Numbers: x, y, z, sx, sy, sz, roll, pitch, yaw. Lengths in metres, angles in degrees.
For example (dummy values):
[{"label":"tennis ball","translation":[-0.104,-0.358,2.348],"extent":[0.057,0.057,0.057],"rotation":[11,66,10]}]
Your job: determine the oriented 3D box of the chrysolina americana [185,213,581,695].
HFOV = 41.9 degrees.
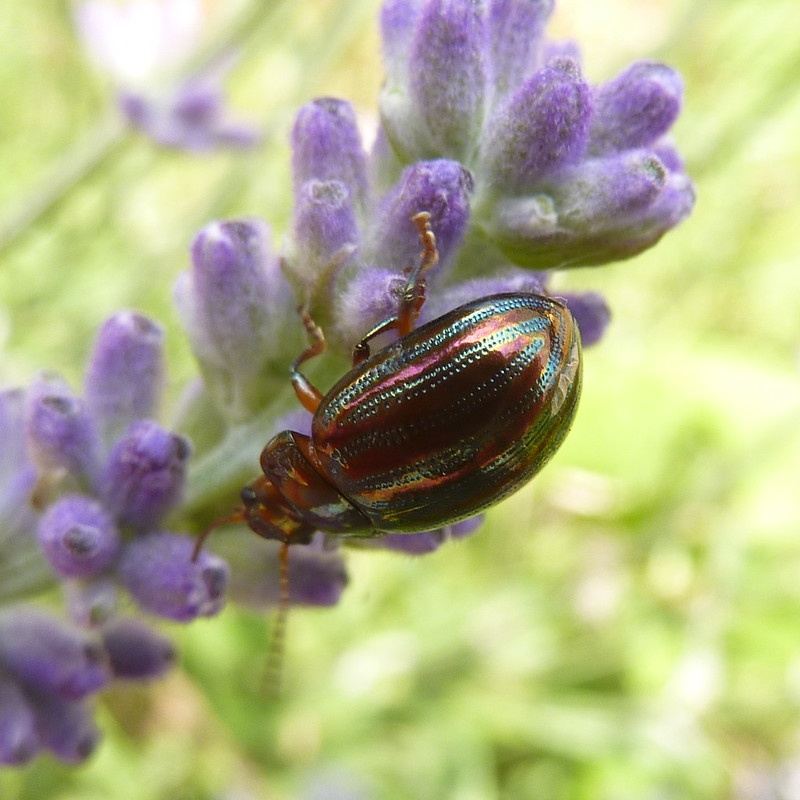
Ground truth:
[{"label":"chrysolina americana","translation":[0.019,0.022,0.790],"extent":[0.328,0.249,0.106],"rotation":[-22,26,8]}]
